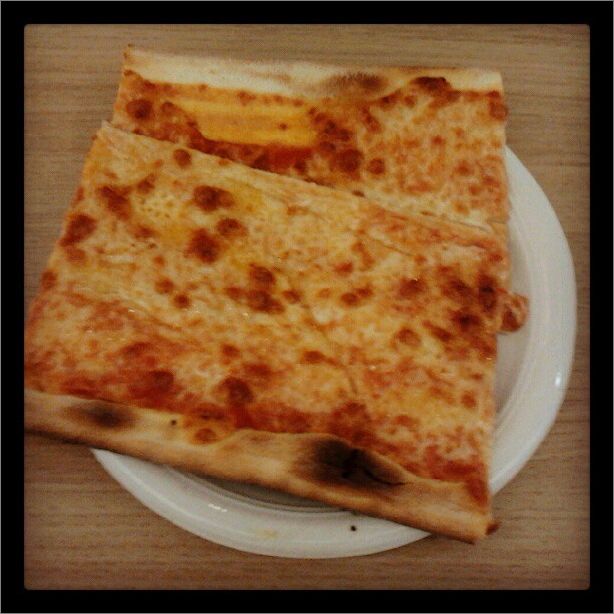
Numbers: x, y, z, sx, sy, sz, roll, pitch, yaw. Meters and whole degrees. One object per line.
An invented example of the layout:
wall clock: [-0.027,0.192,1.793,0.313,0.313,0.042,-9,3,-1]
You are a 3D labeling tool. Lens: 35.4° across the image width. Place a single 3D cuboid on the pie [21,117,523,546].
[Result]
pie: [-0.038,0.034,1.244,0.639,0.086,0.399,15,80,2]
